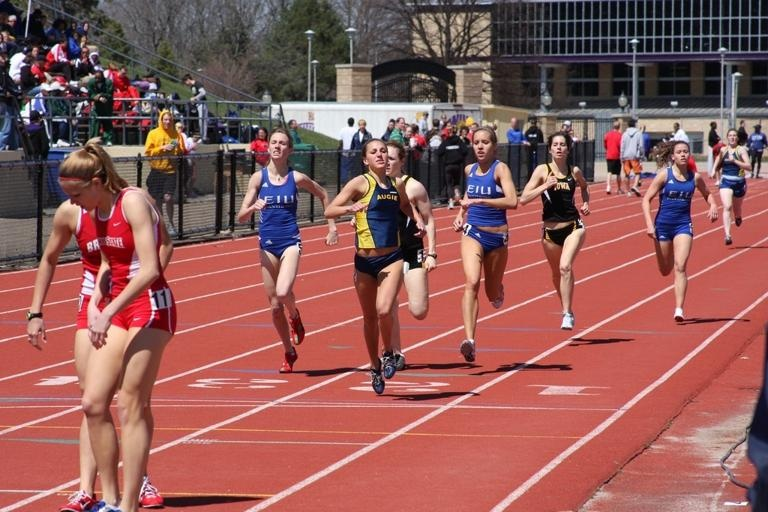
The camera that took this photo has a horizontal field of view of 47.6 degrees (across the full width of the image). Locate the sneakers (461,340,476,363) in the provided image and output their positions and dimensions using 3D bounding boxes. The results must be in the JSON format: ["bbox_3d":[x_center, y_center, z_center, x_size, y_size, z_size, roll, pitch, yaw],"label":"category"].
[{"bbox_3d":[0.888,1.037,9.384,0.121,0.150,0.318,-1,-38,15],"label":"sneakers"}]

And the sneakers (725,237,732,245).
[{"bbox_3d":[7.371,-0.332,18.649,0.130,0.177,0.401,-4,-8,13],"label":"sneakers"}]

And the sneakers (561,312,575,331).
[{"bbox_3d":[2.357,0.813,11.195,0.128,0.237,0.362,2,9,15],"label":"sneakers"}]

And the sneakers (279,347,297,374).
[{"bbox_3d":[-1.085,1.149,9.822,0.189,0.296,0.272,-1,8,-10],"label":"sneakers"}]

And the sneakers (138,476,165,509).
[{"bbox_3d":[-1.574,1.598,5.909,0.153,0.205,0.133,-1,8,-10],"label":"sneakers"}]

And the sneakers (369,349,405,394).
[{"bbox_3d":[0.023,1.112,8.824,0.176,0.209,0.538,-31,21,17],"label":"sneakers"}]
